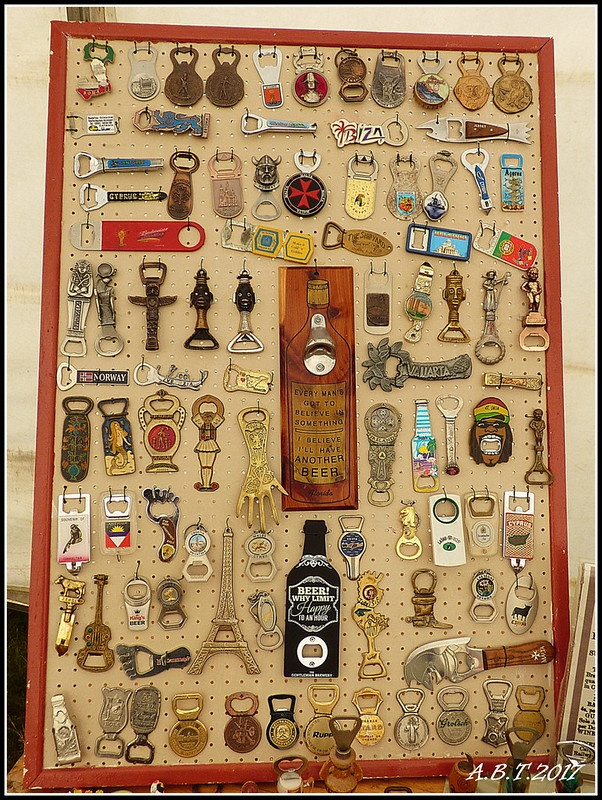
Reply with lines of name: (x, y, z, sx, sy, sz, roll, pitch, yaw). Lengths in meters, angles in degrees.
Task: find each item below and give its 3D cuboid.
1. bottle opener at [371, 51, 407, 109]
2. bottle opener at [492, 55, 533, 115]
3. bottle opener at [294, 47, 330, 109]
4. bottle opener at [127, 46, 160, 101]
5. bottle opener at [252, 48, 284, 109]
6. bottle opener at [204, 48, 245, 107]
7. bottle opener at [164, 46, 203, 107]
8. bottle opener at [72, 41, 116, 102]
bottle opener: (0.158, -0.586, 1.750, 0.082, 0.151, 0.017, 0, 2, -5)
bottle opener: (0.389, -0.586, 1.774, 0.075, 0.014, 0.123, 10, -35, 22)
bottle opener: (0.018, -0.585, 1.743, 0.065, 0.142, 0.013, -2, -28, -3)
bottle opener: (-0.281, -0.590, 1.731, 0.058, 0.125, 0.009, -4, -23, -7)
bottle opener: (-0.054, -0.579, 1.724, 0.050, 0.021, 0.144, -1, -26, 3)
bottle opener: (-0.133, -0.580, 1.717, 0.068, 0.012, 0.125, 0, -33, -7)
bottle opener: (-0.206, -0.578, 1.714, 0.066, 0.013, 0.127, 0, -33, -9)
bottle opener: (-0.364, -0.590, 1.727, 0.060, 0.133, 0.012, 1, -22, -10)
